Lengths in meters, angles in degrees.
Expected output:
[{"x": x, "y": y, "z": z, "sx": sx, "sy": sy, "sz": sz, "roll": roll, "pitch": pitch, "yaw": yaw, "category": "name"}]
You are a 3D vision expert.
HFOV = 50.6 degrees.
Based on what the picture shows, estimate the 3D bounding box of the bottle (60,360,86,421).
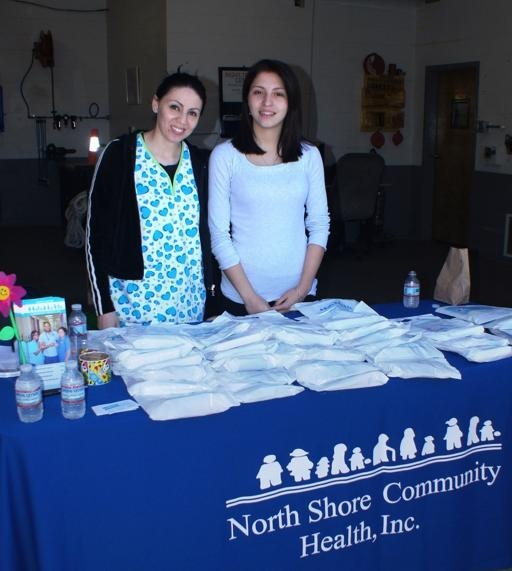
[{"x": -0.371, "y": 0.205, "z": 1.088, "sx": 0.049, "sy": 0.115, "sz": 0.093, "roll": -7, "pitch": 16, "yaw": -21, "category": "bottle"}]

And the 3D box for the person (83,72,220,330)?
[{"x": -0.350, "y": -0.257, "z": 1.800, "sx": 0.438, "sy": 0.839, "sz": 0.235, "roll": -6, "pitch": 16, "yaw": -17, "category": "person"}]

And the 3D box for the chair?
[{"x": 1.173, "y": -0.980, "z": 6.509, "sx": 0.652, "sy": 1.197, "sz": 1.006, "roll": 1, "pitch": 16, "yaw": 12, "category": "chair"}]
